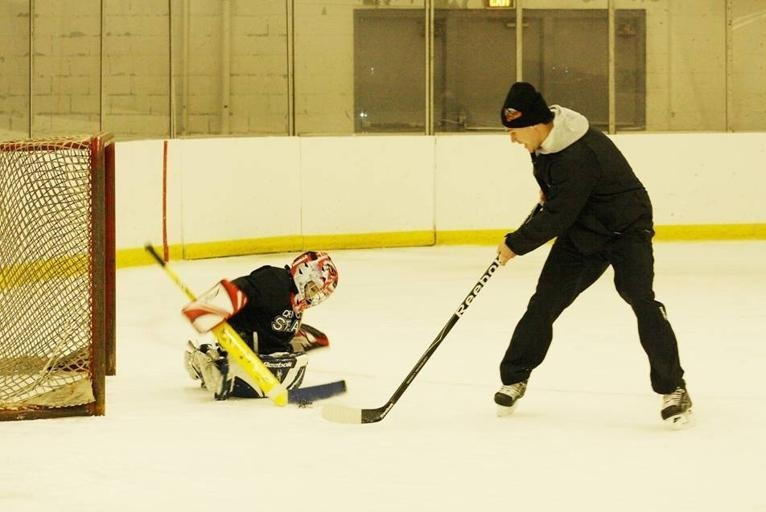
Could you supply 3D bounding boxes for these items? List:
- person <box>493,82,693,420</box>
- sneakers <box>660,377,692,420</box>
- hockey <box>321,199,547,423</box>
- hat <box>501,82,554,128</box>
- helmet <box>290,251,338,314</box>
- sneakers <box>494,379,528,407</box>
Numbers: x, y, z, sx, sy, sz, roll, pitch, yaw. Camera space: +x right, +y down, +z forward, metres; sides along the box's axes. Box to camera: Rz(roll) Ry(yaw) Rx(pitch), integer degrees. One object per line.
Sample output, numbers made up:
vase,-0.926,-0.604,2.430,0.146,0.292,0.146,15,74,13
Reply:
person,1.038,-0.044,4.927,0.899,1.634,0.530,1,14,5
sneakers,1.461,0.722,4.805,0.144,0.191,0.097,3,14,11
hockey,0.286,0.360,6.594,1.875,0.315,0.129,-44,16,-11
hat,0.736,-0.777,4.937,0.292,0.226,0.210,-5,13,26
helmet,-0.376,0.126,5.272,0.316,0.310,0.262,-8,4,0
sneakers,0.651,0.712,4.977,0.079,0.087,0.226,-3,-3,25
